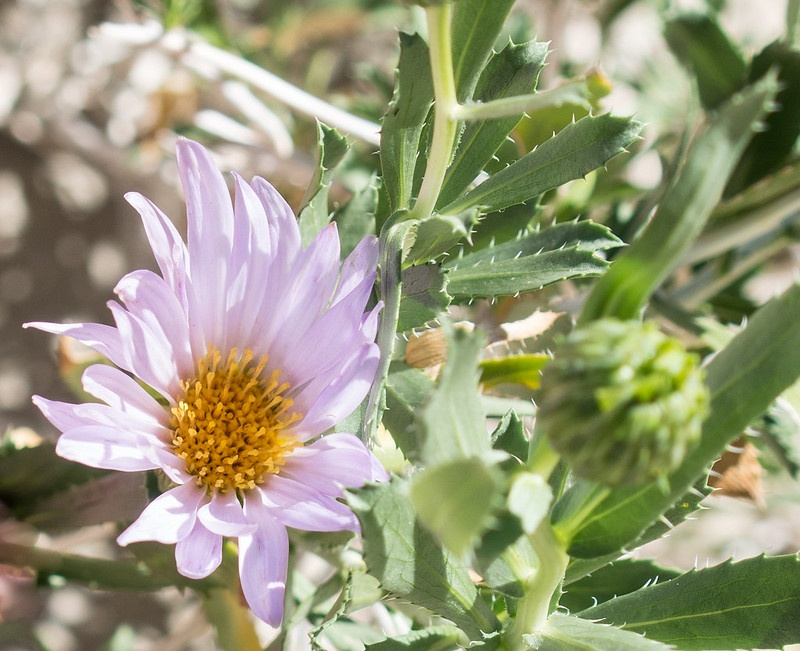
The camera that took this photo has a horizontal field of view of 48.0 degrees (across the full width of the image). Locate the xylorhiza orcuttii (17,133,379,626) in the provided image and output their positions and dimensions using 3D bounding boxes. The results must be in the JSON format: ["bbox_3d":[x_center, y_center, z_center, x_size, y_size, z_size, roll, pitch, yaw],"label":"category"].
[{"bbox_3d":[-0.118,0.043,0.621,0.251,0.207,0.231,25,43,4],"label":"xylorhiza orcuttii"}]
